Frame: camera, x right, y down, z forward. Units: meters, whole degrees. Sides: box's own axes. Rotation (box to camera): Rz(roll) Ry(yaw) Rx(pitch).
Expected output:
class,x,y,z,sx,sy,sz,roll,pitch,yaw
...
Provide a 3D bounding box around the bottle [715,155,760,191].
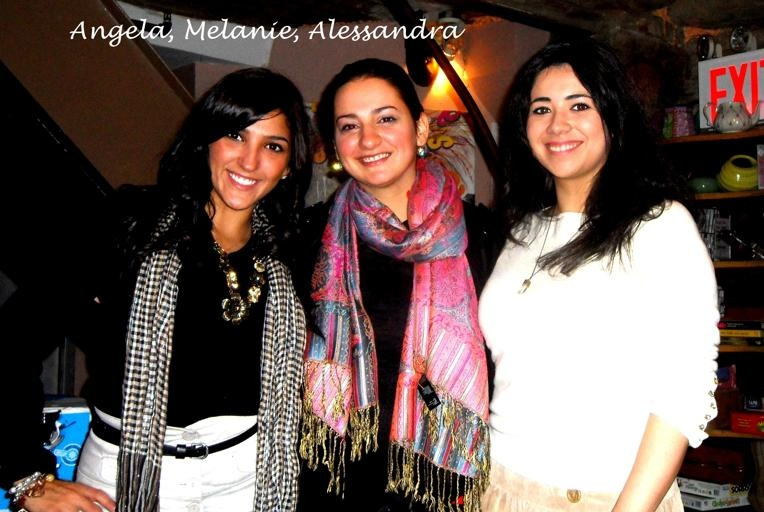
class,x,y,z,sx,sy,sz,roll,pitch,yaw
bottle,2.611,-0.590,4.750,0.269,0.257,0.185,0,-27,14

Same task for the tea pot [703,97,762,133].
class,x,y,z,sx,sy,sz,roll,pitch,yaw
tea pot,2.516,-1.008,4.680,0.323,0.184,0.224,-1,3,10

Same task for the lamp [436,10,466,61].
class,x,y,z,sx,sy,sz,roll,pitch,yaw
lamp,0.677,-2.174,6.311,0.274,0.365,0.380,0,41,-11
